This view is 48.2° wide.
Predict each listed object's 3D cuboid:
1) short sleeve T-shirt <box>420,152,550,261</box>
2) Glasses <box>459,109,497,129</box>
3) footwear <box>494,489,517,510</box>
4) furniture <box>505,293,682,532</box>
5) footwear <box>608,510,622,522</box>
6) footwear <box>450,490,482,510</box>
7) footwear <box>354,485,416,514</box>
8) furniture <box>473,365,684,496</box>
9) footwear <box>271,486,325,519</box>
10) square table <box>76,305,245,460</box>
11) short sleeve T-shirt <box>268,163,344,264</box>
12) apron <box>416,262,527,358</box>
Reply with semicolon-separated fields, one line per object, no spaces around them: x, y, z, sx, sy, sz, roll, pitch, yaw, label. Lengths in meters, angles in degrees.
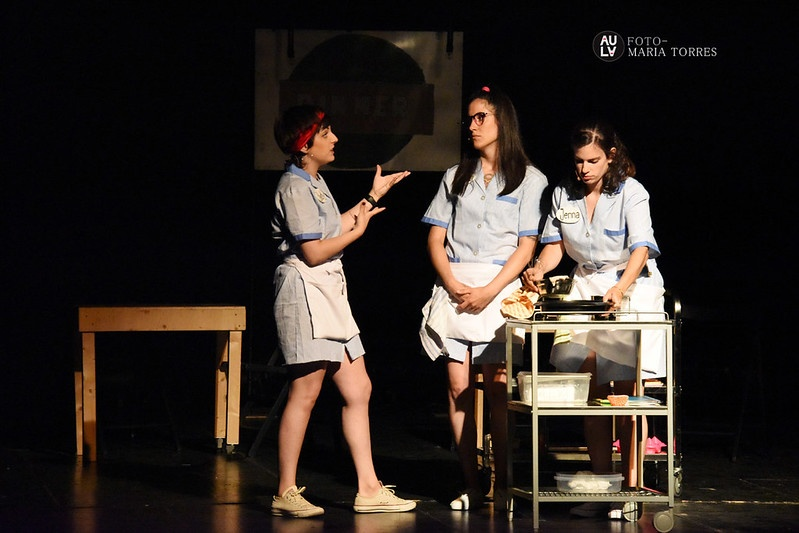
0.595;-0.364;6.120;0.912;0.777;0.367;7;-5;19;short sleeve T-shirt
0.505;-0.969;6.011;0.125;0.109;0.267;-2;5;-27;Glasses
0.681;1.476;5.764;0.105;0.084;0.198;0;-18;3;footwear
1.269;0.893;5.675;1.179;1.383;0.794;0;4;-4;furniture
1.372;1.541;5.631;0.066;0.045;0.066;0;-10;-5;footwear
0.450;1.509;5.882;0.243;0.098;0.086;-1;0;-20;footwear
-0.100;1.496;5.850;0.450;0.198;0.151;0;-6;-4;footwear
1.170;1.057;5.860;0.935;0.794;0.335;-1;-5;5;furniture
-0.664;1.487;5.750;0.386;0.192;0.144;1;-3;7;footwear
-2.008;0.862;7.494;1.276;1.212;0.968;1;5;-19;square table
-0.612;-0.400;5.962;0.397;0.596;0.687;-1;9;9;short sleeve T-shirt
0.536;0.332;6.156;0.916;0.892;0.547;1;-6;8;apron
